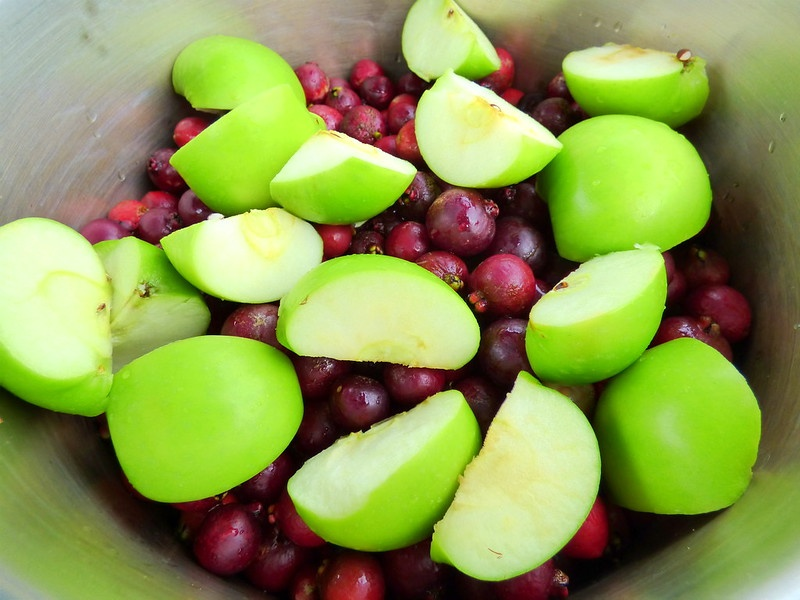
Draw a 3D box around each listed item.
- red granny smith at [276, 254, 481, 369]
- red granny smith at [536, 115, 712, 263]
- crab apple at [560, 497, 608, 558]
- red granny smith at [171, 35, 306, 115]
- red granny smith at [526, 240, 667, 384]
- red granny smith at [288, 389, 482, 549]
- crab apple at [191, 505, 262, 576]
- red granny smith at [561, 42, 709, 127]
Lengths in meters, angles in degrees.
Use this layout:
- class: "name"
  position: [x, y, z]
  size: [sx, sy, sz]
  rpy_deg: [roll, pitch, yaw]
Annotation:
- class: "red granny smith"
  position: [-0.036, 0.031, 1.284]
  size: [0.308, 0.171, 0.171]
  rpy_deg: [5, 44, 3]
- class: "red granny smith"
  position: [0.390, -0.200, 1.450]
  size: [0.255, 0.151, 0.256]
  rpy_deg: [40, 103, 4]
- class: "crab apple"
  position: [0.294, 0.366, 1.337]
  size: [0.056, 0.072, 0.097]
  rpy_deg: [13, 99, 32]
- class: "red granny smith"
  position: [-0.315, -0.414, 1.542]
  size: [0.179, 0.186, 0.104]
  rpy_deg: [28, 90, 16]
- class: "red granny smith"
  position: [0.330, 0.045, 1.342]
  size: [0.236, 0.141, 0.181]
  rpy_deg: [-35, 32, 3]
- class: "red granny smith"
  position: [-0.017, 0.281, 1.248]
  size: [0.312, 0.091, 0.193]
  rpy_deg: [-23, 75, -2]
- class: "crab apple"
  position: [-0.282, 0.388, 1.351]
  size: [0.087, 0.091, 0.118]
  rpy_deg: [38, 78, 20]
- class: "red granny smith"
  position: [0.432, -0.407, 1.484]
  size: [0.175, 0.107, 0.182]
  rpy_deg: [-13, 36, -11]
